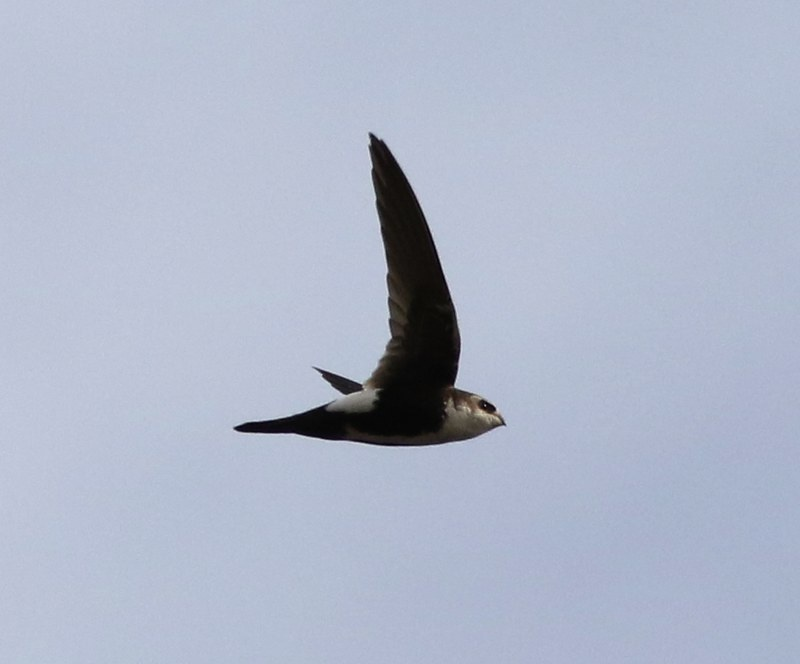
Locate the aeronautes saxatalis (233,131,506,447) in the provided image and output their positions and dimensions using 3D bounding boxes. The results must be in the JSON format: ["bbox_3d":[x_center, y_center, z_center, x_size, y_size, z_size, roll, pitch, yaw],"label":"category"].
[{"bbox_3d":[-0.190,0.260,9.328,1.620,1.004,2.576,12,-43,-10],"label":"aeronautes saxatalis"}]
